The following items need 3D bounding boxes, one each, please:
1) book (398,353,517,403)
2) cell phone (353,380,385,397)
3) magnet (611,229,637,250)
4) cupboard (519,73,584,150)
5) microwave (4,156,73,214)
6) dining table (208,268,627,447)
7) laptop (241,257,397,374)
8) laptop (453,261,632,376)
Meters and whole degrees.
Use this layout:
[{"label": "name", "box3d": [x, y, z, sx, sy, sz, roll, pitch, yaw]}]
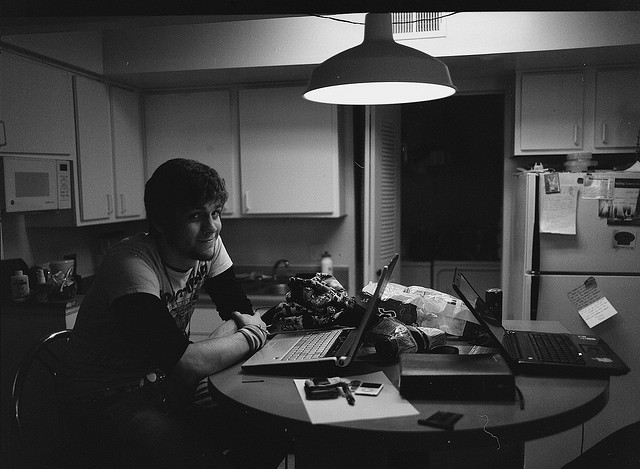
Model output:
[{"label": "book", "box3d": [0.301, 0.306, 1.160, 0.250, 0.059, 0.189, -1, 8, 10]}, {"label": "cell phone", "box3d": [0.106, 0.333, 1.131, 0.050, 0.011, 0.067, 1, 8, 23]}, {"label": "magnet", "box3d": [1.228, 0.020, 2.107, 0.018, 0.072, 0.077, -8, 6, -12]}, {"label": "cupboard", "box3d": [0.992, -0.491, 2.326, 0.447, 0.330, 0.229, 0, 2, 3]}, {"label": "microwave", "box3d": [-0.852, -0.152, 1.579, 0.150, 0.168, 0.262, -1, 0, 7]}, {"label": "dining table", "box3d": [0.233, 0.227, 1.282, 0.995, 0.283, 0.642, -3, 8, -7]}, {"label": "laptop", "box3d": [0.014, 0.180, 1.361, 0.433, 0.243, 0.467, -3, 0, -6]}, {"label": "laptop", "box3d": [0.533, 0.160, 1.277, 0.295, 0.181, 0.314, -2, 6, 9]}]
